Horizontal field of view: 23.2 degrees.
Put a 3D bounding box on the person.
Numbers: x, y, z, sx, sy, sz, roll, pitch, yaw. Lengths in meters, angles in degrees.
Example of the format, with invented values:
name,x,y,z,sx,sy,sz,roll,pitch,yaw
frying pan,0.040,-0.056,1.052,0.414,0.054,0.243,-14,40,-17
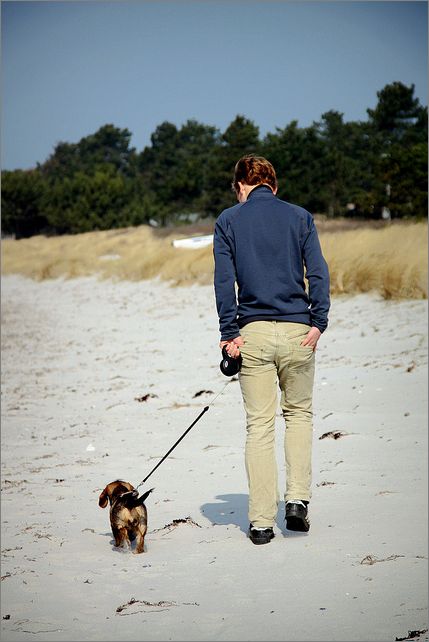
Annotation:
name,x,y,z,sx,sy,sz,roll,pitch,yaw
person,0.271,0.121,5.203,0.550,1.881,0.679,0,9,26

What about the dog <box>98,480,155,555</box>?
name,x,y,z,sx,sy,sz,roll,pitch,yaw
dog,-0.435,0.945,5.047,0.162,0.362,0.540,-4,-6,-19

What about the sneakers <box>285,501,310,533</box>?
name,x,y,z,sx,sy,sz,roll,pitch,yaw
sneakers,0.400,0.958,5.089,0.117,0.185,0.156,-4,8,4
